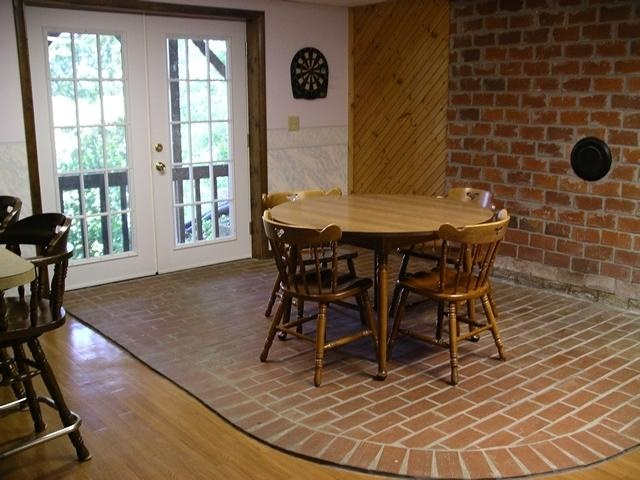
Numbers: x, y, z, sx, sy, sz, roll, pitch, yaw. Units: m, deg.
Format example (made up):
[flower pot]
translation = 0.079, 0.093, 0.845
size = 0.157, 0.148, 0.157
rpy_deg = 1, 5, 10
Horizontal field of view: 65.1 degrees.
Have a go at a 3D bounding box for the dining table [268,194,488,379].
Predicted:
[dining table]
translation = 0.397, 0.518, 3.976
size = 1.568, 1.011, 1.689
rpy_deg = 3, -8, 30

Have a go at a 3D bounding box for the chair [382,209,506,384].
[chair]
translation = 0.881, 0.343, 3.534
size = 0.749, 0.988, 0.812
rpy_deg = -3, 7, -13
